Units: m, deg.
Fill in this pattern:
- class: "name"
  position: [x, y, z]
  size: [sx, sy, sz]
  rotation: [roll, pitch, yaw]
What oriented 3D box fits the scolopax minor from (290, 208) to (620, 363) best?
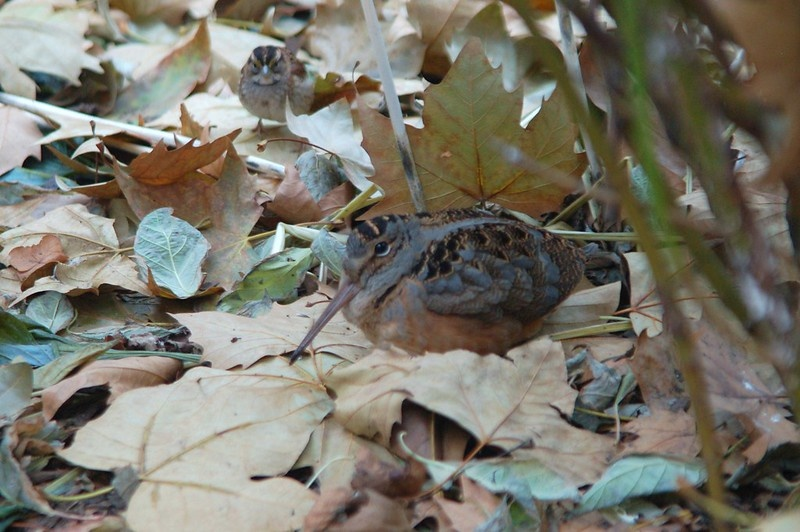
- class: "scolopax minor"
  position: [0.216, 0.051, 3.480]
  size: [1.037, 0.310, 0.635]
  rotation: [9, 81, 2]
